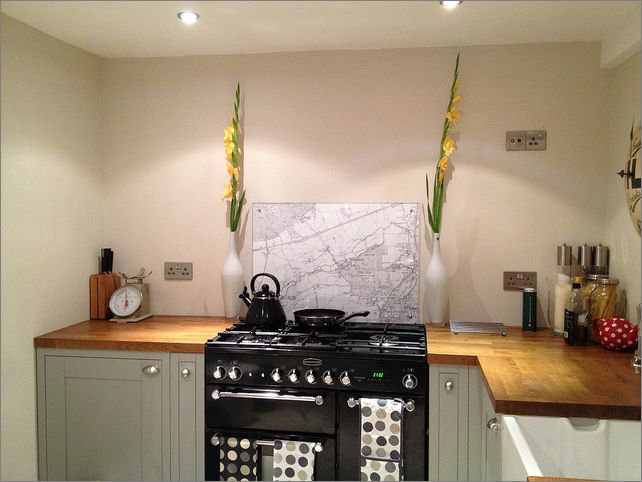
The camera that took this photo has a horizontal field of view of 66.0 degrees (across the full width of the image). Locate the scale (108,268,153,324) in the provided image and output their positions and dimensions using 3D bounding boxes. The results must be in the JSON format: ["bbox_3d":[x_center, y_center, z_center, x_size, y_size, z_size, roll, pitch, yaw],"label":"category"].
[{"bbox_3d":[-1.318,0.373,3.466,0.210,0.352,0.340,0,0,4],"label":"scale"}]

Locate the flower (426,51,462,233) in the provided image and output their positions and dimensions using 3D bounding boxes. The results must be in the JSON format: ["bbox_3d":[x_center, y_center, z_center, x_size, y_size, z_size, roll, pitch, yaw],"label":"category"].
[{"bbox_3d":[0.795,-0.640,3.227,0.257,1.186,0.218,-2,-4,22],"label":"flower"}]

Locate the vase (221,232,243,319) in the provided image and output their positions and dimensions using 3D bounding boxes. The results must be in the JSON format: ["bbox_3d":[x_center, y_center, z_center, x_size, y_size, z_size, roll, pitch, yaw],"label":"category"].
[{"bbox_3d":[-0.600,0.240,3.372,0.143,0.589,0.153,0,-4,-16],"label":"vase"}]

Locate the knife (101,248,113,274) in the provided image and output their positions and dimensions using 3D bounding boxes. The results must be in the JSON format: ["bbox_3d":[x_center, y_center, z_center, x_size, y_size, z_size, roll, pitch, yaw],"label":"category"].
[{"bbox_3d":[-1.526,0.147,3.511,0.080,0.180,0.067,0,-4,-14],"label":"knife"}]

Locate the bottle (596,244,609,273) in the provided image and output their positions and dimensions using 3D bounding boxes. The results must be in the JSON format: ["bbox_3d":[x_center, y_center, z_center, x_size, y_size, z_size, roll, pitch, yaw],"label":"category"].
[{"bbox_3d":[1.780,0.116,3.122,0.122,0.190,0.061,3,-5,-44],"label":"bottle"}]

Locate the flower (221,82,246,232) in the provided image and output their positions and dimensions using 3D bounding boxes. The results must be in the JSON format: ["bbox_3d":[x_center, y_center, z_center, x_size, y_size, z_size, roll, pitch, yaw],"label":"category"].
[{"bbox_3d":[-0.600,-0.571,3.409,0.160,1.044,0.211,0,-4,-12],"label":"flower"}]

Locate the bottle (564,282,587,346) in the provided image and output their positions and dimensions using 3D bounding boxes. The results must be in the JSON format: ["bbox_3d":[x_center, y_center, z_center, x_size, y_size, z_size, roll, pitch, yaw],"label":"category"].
[{"bbox_3d":[1.482,0.424,2.877,0.118,0.372,0.083,-3,-4,28],"label":"bottle"}]

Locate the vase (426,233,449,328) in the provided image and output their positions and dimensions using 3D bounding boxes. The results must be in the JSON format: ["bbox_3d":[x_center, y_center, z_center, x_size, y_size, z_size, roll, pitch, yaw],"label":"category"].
[{"bbox_3d":[0.758,0.261,3.232,0.146,0.611,0.133,-1,-4,-2],"label":"vase"}]

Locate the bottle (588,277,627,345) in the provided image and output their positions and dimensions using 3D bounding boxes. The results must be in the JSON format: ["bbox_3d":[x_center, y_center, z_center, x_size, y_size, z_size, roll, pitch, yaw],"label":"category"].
[{"bbox_3d":[1.713,0.360,2.949,0.210,0.287,0.096,0,-4,-9],"label":"bottle"}]

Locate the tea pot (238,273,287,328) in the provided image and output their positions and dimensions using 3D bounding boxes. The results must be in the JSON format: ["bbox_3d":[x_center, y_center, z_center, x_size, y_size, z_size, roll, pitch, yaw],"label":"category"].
[{"bbox_3d":[-0.347,0.391,3.191,0.328,0.369,0.273,-2,-2,20],"label":"tea pot"}]

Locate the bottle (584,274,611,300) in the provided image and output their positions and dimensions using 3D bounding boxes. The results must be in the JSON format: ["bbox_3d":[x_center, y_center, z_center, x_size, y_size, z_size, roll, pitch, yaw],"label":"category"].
[{"bbox_3d":[1.653,0.285,2.984,0.119,0.144,0.137,0,-2,-16],"label":"bottle"}]

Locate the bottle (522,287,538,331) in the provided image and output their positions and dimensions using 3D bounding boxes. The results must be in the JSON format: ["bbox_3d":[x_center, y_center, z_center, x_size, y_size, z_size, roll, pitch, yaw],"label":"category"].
[{"bbox_3d":[1.336,0.447,3.159,0.080,0.275,0.069,-3,-4,23],"label":"bottle"}]

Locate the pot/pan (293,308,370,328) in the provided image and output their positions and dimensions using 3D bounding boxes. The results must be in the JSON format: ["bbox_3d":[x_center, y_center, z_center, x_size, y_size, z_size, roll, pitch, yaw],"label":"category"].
[{"bbox_3d":[0.014,0.489,3.124,0.298,0.080,0.205,0,-2,10],"label":"pot/pan"}]

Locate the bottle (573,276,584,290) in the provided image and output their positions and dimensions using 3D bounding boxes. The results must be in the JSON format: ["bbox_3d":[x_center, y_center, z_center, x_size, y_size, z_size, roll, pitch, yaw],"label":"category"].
[{"bbox_3d":[1.494,0.248,2.875,0.057,0.109,0.060,-1,-1,0],"label":"bottle"}]
